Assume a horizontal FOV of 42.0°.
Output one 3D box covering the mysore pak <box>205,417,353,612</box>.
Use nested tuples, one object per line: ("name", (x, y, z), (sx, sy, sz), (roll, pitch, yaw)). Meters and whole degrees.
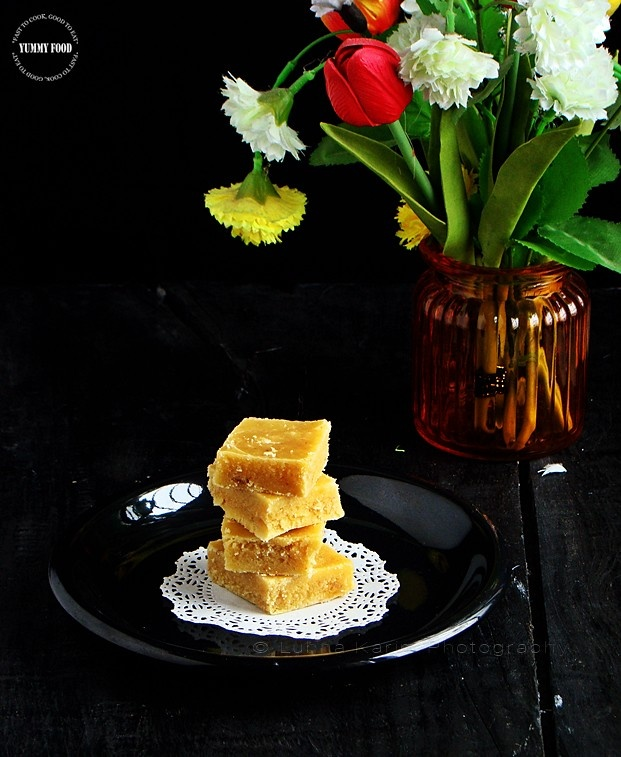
("mysore pak", (-0.024, 0.112, 0.702), (0.155, 0.121, 0.128), (-15, 18, -41))

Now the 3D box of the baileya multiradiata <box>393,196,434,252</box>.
("baileya multiradiata", (0.104, -0.156, 0.843), (0.081, 0.039, 0.074), (1, 10, 5))
